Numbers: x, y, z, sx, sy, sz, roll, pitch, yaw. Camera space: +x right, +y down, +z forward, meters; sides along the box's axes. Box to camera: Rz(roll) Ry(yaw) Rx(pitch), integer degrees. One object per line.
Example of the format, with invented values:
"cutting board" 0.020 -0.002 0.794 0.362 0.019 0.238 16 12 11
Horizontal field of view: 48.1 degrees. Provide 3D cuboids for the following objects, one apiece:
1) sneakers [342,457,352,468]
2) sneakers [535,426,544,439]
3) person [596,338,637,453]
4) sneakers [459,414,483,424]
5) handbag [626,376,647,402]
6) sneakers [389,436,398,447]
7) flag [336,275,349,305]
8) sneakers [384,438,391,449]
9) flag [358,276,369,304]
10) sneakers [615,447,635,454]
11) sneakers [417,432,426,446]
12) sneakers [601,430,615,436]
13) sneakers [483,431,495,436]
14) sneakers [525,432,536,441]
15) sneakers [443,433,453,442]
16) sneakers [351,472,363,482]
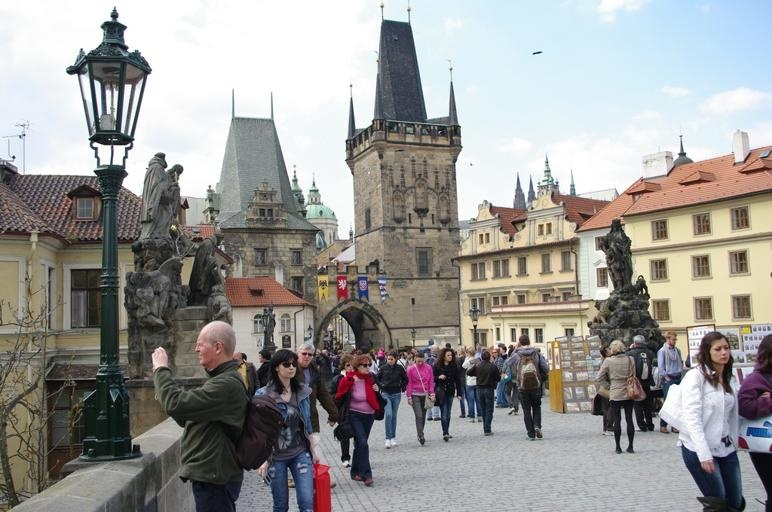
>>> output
"sneakers" -0.798 4.194 17.568 0.154 0.188 0.203 2 7 -5
"sneakers" 3.393 3.916 19.166 0.118 0.279 0.121 -8 37 15
"person" 4.796 2.859 17.797 0.768 2.250 1.216 -4 -6 13
"sneakers" 2.286 4.402 23.347 0.674 0.266 0.202 2 1 32
"handbag" 4.990 2.633 17.299 0.191 0.468 0.407 -8 -8 44
"sneakers" 0.167 4.164 19.421 0.212 0.246 0.594 1 -13 -5
"flag" -3.214 2.418 64.209 0.842 2.002 1.639 -2 -6 -3
"sneakers" 0.045 4.165 19.269 0.188 0.206 0.497 0 -13 -1
"flag" -1.733 2.373 65.377 0.833 2.074 2.581 -2 -6 -2
"sneakers" 4.805 3.891 17.368 0.382 0.125 0.261 -3 -6 14
"sneakers" 0.805 4.101 19.511 0.120 0.138 0.343 -1 0 -1
"sneakers" 4.961 3.926 19.275 0.229 0.097 0.089 -2 5 19
"sneakers" 2.431 4.131 20.190 0.226 0.071 0.102 -5 17 -27
"sneakers" 3.226 4.008 19.204 0.188 0.112 0.237 2 -10 3
"sneakers" 1.396 4.142 19.672 0.101 0.108 0.260 -2 -24 -4
"sneakers" -0.534 4.112 16.146 0.177 0.134 0.463 0 -13 -10
